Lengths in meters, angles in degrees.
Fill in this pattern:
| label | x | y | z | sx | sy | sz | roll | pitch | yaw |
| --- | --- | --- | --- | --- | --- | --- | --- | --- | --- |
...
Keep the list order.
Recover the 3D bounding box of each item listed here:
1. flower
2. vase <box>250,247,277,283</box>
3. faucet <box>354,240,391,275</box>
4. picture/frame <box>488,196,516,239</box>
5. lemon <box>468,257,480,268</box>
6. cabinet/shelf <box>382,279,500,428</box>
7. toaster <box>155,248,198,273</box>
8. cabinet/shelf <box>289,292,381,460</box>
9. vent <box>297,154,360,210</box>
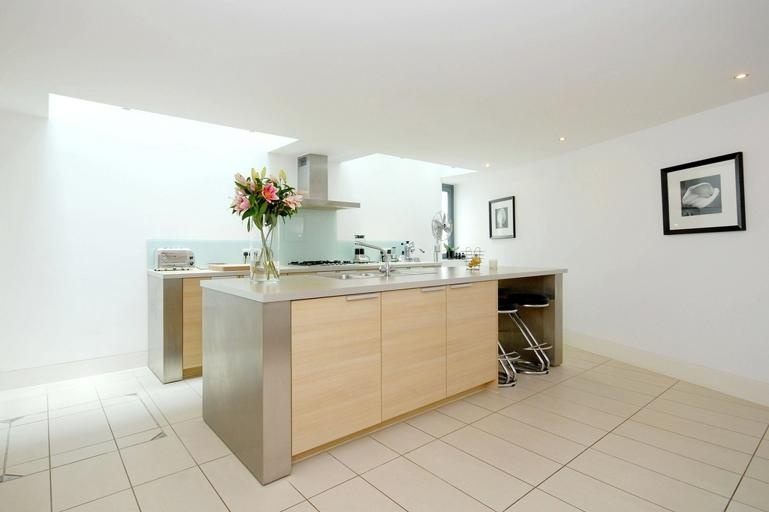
| label | x | y | z | sx | sy | sz | roll | pitch | yaw |
| --- | --- | --- | --- | --- | --- | --- | --- | --- | --- |
| flower | -1.033 | -0.294 | 4.075 | 0.619 | 0.850 | 0.561 | -3 | 0 | -45 |
| vase | -1.039 | 0.082 | 4.117 | 0.251 | 0.284 | 0.251 | 0 | -1 | 21 |
| faucet | -0.107 | 0.036 | 4.560 | 0.362 | 0.393 | 0.098 | 4 | -37 | -11 |
| picture/frame | 1.946 | -0.637 | 7.662 | 0.061 | 0.846 | 0.736 | 2 | -2 | -24 |
| lemon | 1.025 | 0.071 | 5.290 | 0.103 | 0.071 | 0.135 | -2 | 2 | -30 |
| cabinet/shelf | 0.294 | 0.866 | 4.672 | 1.667 | 1.179 | 0.904 | -2 | 1 | -37 |
| toaster | -2.482 | 0.036 | 5.576 | 0.241 | 0.303 | 0.432 | -2 | -2 | 41 |
| cabinet/shelf | -0.594 | 0.915 | 4.113 | 0.882 | 1.251 | 0.991 | -4 | -1 | 44 |
| vent | -0.879 | -1.020 | 6.585 | 0.927 | 0.669 | 0.913 | -4 | 5 | -42 |
